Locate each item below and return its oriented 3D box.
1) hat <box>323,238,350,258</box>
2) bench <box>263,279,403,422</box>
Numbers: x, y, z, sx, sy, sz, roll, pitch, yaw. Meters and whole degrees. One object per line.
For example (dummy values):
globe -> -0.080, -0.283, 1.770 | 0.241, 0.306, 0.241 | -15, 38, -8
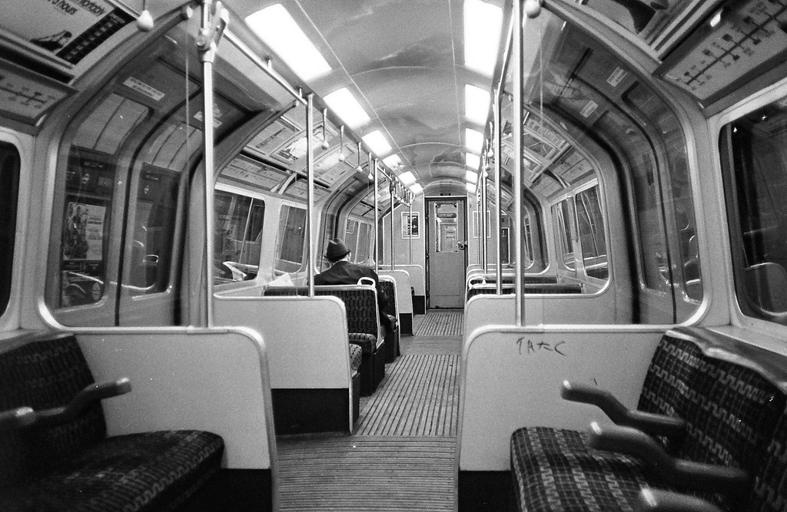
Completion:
hat -> -0.943, -0.088, 7.264 | 0.320, 0.343, 0.344 | 0, 2, -5
bench -> -0.914, 1.356, 6.963 | 1.743, 1.694, 1.722 | 0, 2, 8
